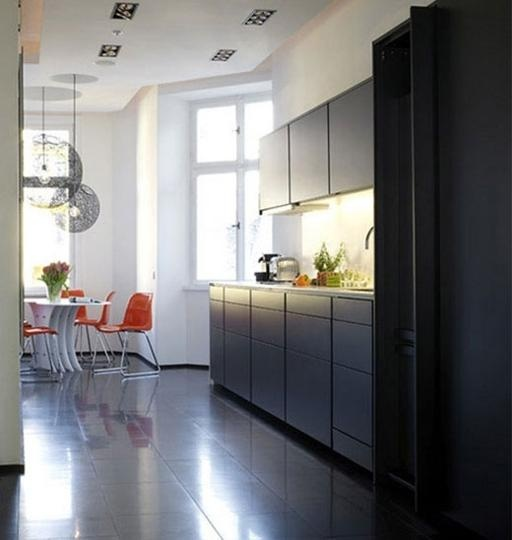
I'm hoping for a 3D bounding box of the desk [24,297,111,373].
[{"bbox_3d":[-2.467,0.788,6.260,0.757,0.896,1.006,-1,2,-24],"label":"desk"}]

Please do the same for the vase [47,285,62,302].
[{"bbox_3d":[-2.550,0.295,6.312,0.148,0.217,0.167,0,0,-10],"label":"vase"}]

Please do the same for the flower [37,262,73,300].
[{"bbox_3d":[-2.612,0.151,6.460,0.376,0.518,0.424,0,-4,-9],"label":"flower"}]

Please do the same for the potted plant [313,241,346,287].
[{"bbox_3d":[0.587,-0.046,3.980,0.226,0.431,0.291,1,-1,1],"label":"potted plant"}]

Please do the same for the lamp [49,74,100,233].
[{"bbox_3d":[-2.538,-1.514,7.143,0.655,1.919,1.266,1,-3,-24],"label":"lamp"}]

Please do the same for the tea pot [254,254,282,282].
[{"bbox_3d":[0.110,-0.024,4.952,0.263,0.368,0.173,0,0,-9],"label":"tea pot"}]
